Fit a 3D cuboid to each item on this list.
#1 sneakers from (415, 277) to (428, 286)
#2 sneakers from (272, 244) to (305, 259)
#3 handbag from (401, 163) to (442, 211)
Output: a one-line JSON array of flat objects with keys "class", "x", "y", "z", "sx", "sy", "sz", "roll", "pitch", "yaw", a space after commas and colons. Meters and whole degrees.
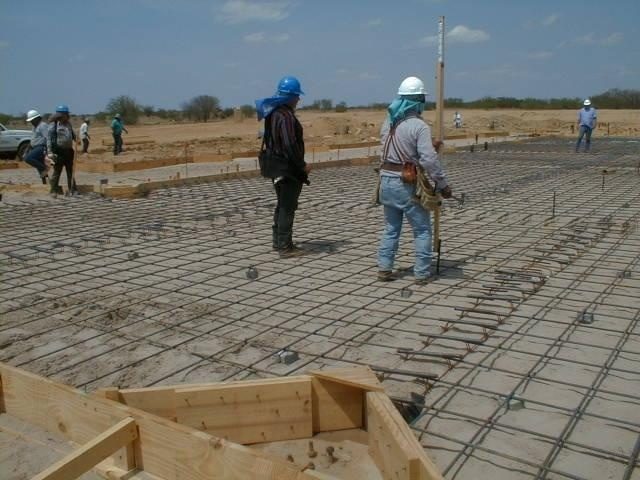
[{"class": "sneakers", "x": 1.023, "y": 0.412, "z": 4.634, "sx": 0.070, "sy": 0.053, "sz": 0.154, "roll": 5, "pitch": 7, "yaw": 32}, {"class": "sneakers", "x": -0.377, "y": 0.139, "z": 5.680, "sx": 0.376, "sy": 0.184, "sz": 0.141, "roll": -10, "pitch": 23, "yaw": -19}, {"class": "handbag", "x": 0.962, "y": -0.507, "z": 4.420, "sx": 0.364, "sy": 0.448, "sz": 0.220, "roll": 0, "pitch": 14, "yaw": 8}]
